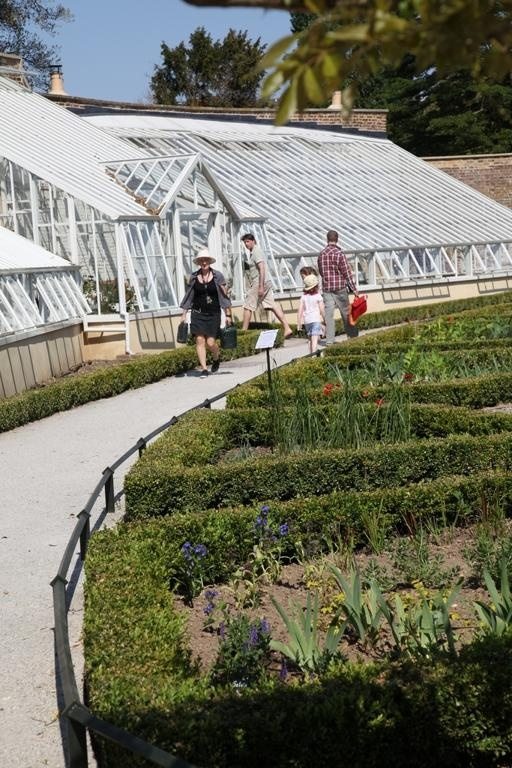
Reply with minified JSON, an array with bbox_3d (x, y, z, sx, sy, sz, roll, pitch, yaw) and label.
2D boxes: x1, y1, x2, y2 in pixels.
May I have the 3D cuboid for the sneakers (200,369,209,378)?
[{"bbox_3d":[-0.676,-0.134,11.826,0.098,0.121,0.283,-1,-1,1],"label":"sneakers"}]

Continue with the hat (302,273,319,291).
[{"bbox_3d":[0.727,-1.338,11.972,0.204,0.205,0.371,-7,10,5],"label":"hat"}]

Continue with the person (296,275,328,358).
[{"bbox_3d":[0.731,-0.936,12.055,0.337,1.020,0.505,-7,10,4],"label":"person"}]

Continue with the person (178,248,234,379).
[{"bbox_3d":[-0.614,-0.854,11.280,0.589,1.625,1.032,-8,10,-2],"label":"person"}]

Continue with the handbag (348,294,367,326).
[{"bbox_3d":[1.528,-1.090,13.558,0.165,0.491,0.799,0,13,19],"label":"handbag"}]

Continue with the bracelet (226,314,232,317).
[{"bbox_3d":[-0.321,-0.828,10.914,0.074,0.055,0.042,0,2,-13],"label":"bracelet"}]
